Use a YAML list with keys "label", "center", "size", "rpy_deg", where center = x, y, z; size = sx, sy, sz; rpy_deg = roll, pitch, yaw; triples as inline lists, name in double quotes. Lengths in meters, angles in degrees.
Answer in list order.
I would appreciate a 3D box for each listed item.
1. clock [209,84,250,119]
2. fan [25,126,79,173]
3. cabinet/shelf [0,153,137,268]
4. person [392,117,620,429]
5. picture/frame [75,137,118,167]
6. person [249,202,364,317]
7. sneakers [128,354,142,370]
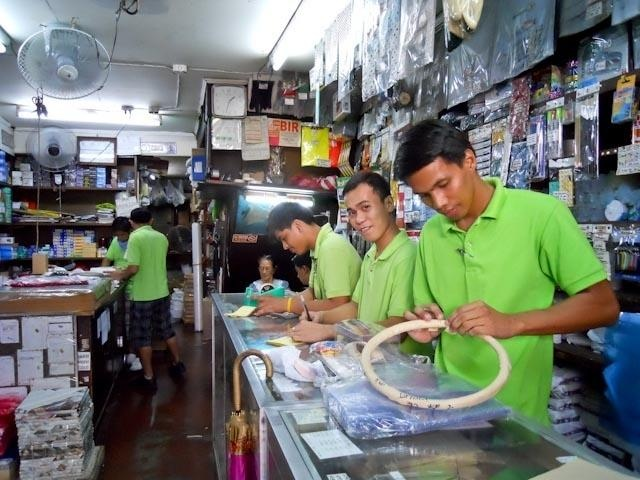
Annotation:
- label: "clock"
  center: [-1.077, -1.657, 5.360]
  size: [0.419, 0.408, 0.185]
  rpy_deg: [-5, 10, -9]
- label: "fan"
  center: [-3.957, -1.333, 6.585]
  size: [0.535, 0.593, 1.677]
  rpy_deg: [-10, 12, -32]
- label: "cabinet/shelf"
  center: [-4.135, -0.483, 7.271]
  size: [1.984, 1.816, 0.580]
  rpy_deg: [0, -2, -13]
- label: "person"
  center: [0.686, 0.286, 1.833]
  size: [0.554, 1.426, 0.837]
  rpy_deg: [-9, 8, -43]
- label: "picture/frame"
  center: [-3.826, -1.515, 7.646]
  size: [0.497, 0.411, 0.174]
  rpy_deg: [1, 1, -13]
- label: "person"
  center: [-0.068, 0.156, 2.915]
  size: [0.754, 0.811, 0.620]
  rpy_deg: [-9, 7, -11]
- label: "sneakers"
  center: [-2.194, 1.446, 5.291]
  size: [0.182, 0.182, 0.174]
  rpy_deg: [0, 6, -16]
